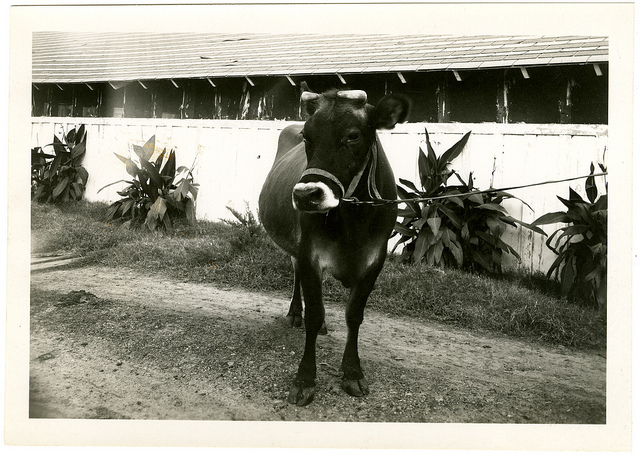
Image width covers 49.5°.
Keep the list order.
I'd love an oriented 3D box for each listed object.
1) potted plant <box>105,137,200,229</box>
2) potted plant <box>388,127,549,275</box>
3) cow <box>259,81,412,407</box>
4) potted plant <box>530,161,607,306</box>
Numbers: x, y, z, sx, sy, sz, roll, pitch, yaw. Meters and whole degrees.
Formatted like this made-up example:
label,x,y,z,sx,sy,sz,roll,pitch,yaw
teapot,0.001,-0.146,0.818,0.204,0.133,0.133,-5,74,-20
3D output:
label,x,y,z,sx,sy,sz,roll,pitch,yaw
potted plant,-1.583,-0.407,7.250,0.912,0.586,0.988,-7,23,27
potted plant,1.667,-0.192,7.361,1.410,1.213,1.605,0,0,-20
cow,0.070,0.096,7.062,1.171,2.825,3.617,1,6,-6
potted plant,2.564,0.119,6.892,0.785,1.221,0.840,-8,13,-34
